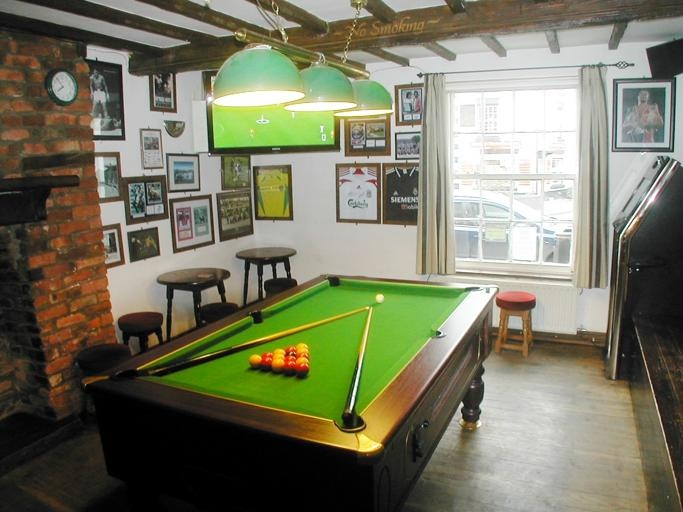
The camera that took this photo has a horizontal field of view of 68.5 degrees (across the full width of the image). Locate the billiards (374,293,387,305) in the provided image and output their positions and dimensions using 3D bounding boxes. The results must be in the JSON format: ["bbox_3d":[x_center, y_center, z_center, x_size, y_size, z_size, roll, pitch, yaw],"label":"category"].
[{"bbox_3d":[0.306,0.325,3.837,0.064,0.039,0.062,-21,37,-25],"label":"billiards"}]

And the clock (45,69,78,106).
[{"bbox_3d":[-2.133,-1.305,3.887,0.047,0.229,0.232,1,2,27],"label":"clock"}]

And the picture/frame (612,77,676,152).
[{"bbox_3d":[3.027,-1.406,5.048,0.545,0.714,0.145,5,13,29],"label":"picture/frame"}]

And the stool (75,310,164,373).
[{"bbox_3d":[-1.821,0.724,4.205,0.537,0.531,0.538,16,13,36],"label":"stool"}]
